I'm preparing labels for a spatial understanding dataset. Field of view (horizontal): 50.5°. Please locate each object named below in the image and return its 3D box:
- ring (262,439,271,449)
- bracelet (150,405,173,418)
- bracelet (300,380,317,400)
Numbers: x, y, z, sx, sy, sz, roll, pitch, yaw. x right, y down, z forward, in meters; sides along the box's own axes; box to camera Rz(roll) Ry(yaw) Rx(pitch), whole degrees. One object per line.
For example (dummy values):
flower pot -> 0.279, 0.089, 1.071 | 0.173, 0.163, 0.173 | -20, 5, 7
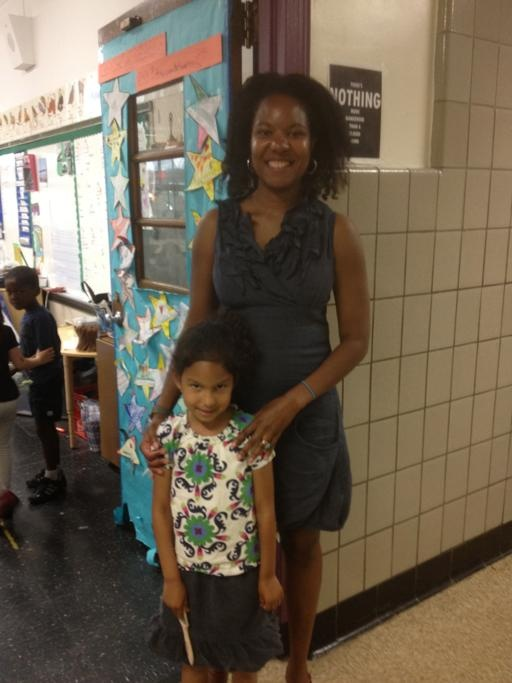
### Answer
ring -> 0.021, 0.206, 1.086 | 0.014, 0.020, 0.008 | -2, 16, 5
bracelet -> -0.212, 0.156, 1.192 | 0.029, 0.024, 0.028 | 17, 20, -47
bracelet -> 0.110, 0.101, 1.155 | 0.013, 0.039, 0.027 | -30, 4, -10
